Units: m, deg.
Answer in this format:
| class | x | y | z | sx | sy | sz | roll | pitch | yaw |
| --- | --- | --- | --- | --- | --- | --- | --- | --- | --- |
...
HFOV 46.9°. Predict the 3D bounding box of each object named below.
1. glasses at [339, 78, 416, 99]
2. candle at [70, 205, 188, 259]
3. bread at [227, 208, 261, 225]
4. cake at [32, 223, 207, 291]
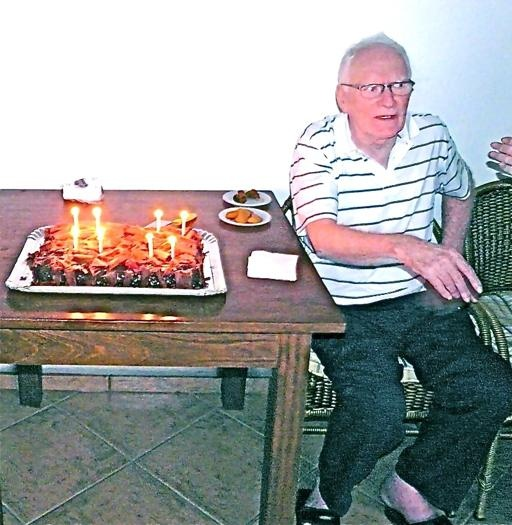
| class | x | y | z | sx | sy | sz | roll | pitch | yaw |
| --- | --- | --- | --- | --- | --- | --- | --- | --- | --- |
| glasses | 0.484 | -0.698 | 2.381 | 0.294 | 0.069 | 0.128 | 1 | 13 | 10 |
| candle | -0.543 | -0.111 | 2.146 | 0.361 | 0.073 | 0.290 | 0 | 23 | -2 |
| bread | -0.049 | -0.199 | 2.551 | 0.151 | 0.017 | 0.086 | 13 | 26 | 25 |
| cake | -0.427 | -0.009 | 1.934 | 0.427 | 0.070 | 0.282 | 0 | 18 | -5 |
